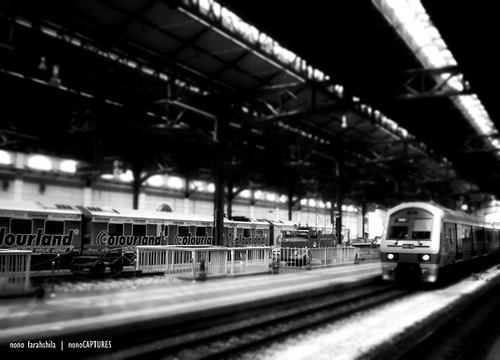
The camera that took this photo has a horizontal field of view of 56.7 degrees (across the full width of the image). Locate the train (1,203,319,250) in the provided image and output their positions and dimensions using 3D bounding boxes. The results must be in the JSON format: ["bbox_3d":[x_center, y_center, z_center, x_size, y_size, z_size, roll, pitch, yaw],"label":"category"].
[{"bbox_3d":[-6.503,3.320,30.956,18.843,3.302,2.185,11,-15,-42],"label":"train"}]

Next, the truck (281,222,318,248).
[{"bbox_3d":[3.560,4.064,32.593,2.290,2.239,3.754,-2,-1,20],"label":"truck"}]
